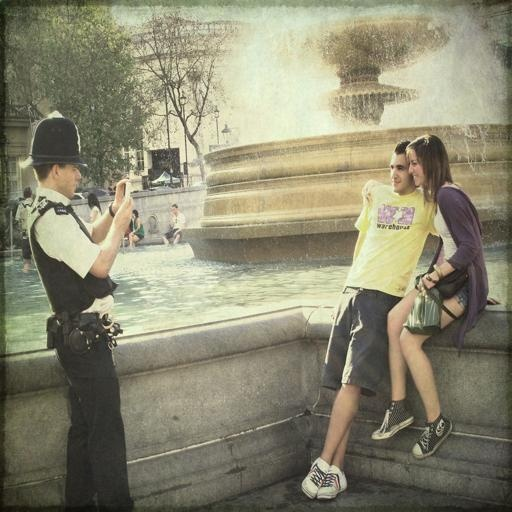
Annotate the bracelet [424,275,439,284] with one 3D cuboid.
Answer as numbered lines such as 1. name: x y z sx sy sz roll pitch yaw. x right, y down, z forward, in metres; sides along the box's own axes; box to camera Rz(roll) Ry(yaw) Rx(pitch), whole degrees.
1. bracelet: 0.865 0.108 3.096 0.036 0.028 0.058 1 6 2

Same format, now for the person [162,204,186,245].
1. person: -2.716 -1.033 20.934 0.692 1.309 2.062 -4 7 -8

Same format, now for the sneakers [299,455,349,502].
1. sneakers: 0.345 1.120 3.182 0.117 0.130 0.239 3 -2 19

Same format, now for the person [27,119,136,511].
1. person: -0.731 0.250 2.792 0.482 1.812 0.547 -8 7 -38

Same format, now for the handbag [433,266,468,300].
1. handbag: 0.961 0.131 3.081 0.113 0.084 0.046 -39 -13 11

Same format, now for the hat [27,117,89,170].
1. hat: -0.882 -0.464 2.793 0.245 0.224 0.210 0 0 -23

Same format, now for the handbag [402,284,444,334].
1. handbag: 0.829 0.266 3.098 0.087 0.238 0.157 31 -28 -32

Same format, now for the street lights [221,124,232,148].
1. street lights: -1.391 -5.823 30.188 0.482 1.040 1.139 -4 7 -4

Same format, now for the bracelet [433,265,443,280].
1. bracelet: 0.892 0.073 3.104 0.048 0.054 0.050 -34 -33 3

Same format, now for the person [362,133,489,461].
1. person: 0.881 0.209 3.211 0.570 1.642 0.393 0 6 24

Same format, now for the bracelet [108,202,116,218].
1. bracelet: -0.702 -0.224 3.066 0.022 0.077 0.066 -3 -6 -1
